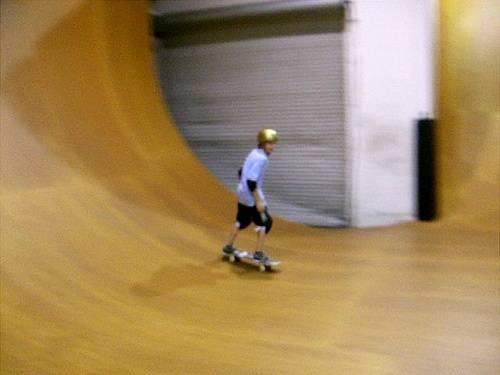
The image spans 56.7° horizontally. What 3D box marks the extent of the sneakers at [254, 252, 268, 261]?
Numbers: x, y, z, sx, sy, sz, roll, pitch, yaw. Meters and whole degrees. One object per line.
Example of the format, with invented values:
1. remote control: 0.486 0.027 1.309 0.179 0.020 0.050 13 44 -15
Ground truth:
1. sneakers: 0.123 0.758 5.106 0.154 0.070 0.061 6 20 4

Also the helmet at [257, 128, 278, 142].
1. helmet: 0.189 -0.565 5.095 0.161 0.124 0.162 2 5 15
